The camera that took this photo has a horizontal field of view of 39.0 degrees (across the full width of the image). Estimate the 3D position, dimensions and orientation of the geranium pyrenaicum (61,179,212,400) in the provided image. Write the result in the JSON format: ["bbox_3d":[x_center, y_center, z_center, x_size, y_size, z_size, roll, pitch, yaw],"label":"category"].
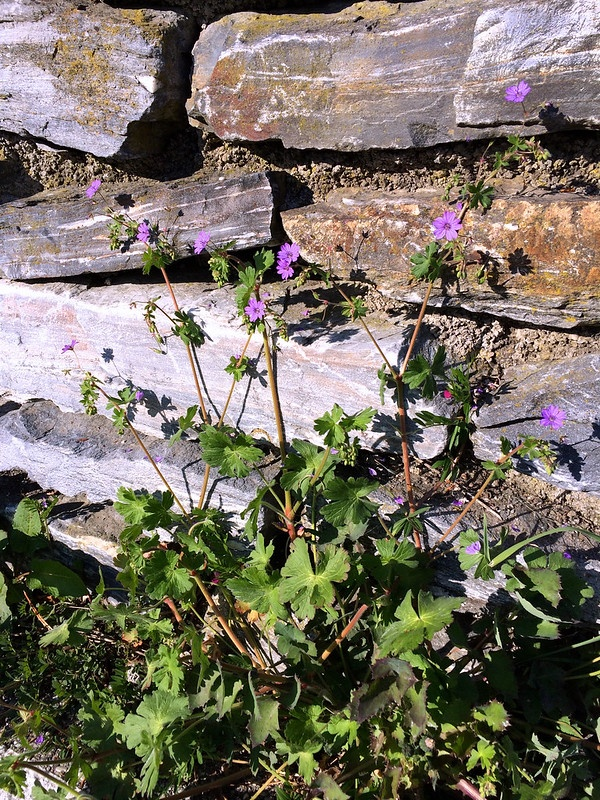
[{"bbox_3d":[-0.449,-0.364,2.699,0.498,0.726,0.116,-22,-11,19],"label":"geranium pyrenaicum"}]
